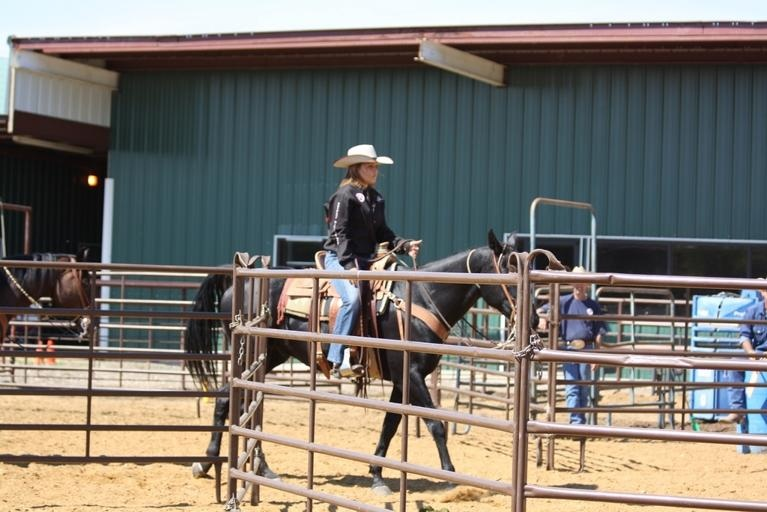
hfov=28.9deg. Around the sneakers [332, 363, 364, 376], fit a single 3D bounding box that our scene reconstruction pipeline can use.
[{"bbox_3d":[-0.570,1.862,24.446,0.540,0.233,0.218,-3,-7,13],"label":"sneakers"}]
